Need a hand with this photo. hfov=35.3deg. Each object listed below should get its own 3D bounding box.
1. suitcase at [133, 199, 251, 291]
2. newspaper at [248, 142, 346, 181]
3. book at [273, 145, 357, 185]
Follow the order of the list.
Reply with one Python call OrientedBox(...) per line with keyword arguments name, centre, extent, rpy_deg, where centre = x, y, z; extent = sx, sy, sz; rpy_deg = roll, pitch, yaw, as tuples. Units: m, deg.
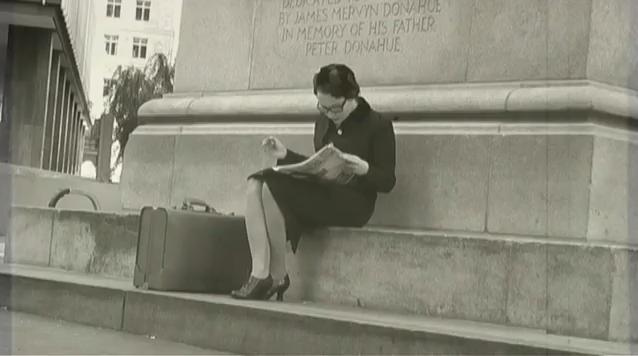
OrientedBox(name="suitcase", centre=(-1.482, 0.802, 11.431), extent=(1.667, 1.223, 0.932), rpy_deg=(2, -2, -24))
OrientedBox(name="newspaper", centre=(-0.078, -0.124, 10.837), extent=(0.655, 0.208, 0.487), rpy_deg=(8, -13, -24))
OrientedBox(name="book", centre=(0.019, -0.134, 10.867), extent=(1.021, 0.380, 0.251), rpy_deg=(-3, 1, 15))
